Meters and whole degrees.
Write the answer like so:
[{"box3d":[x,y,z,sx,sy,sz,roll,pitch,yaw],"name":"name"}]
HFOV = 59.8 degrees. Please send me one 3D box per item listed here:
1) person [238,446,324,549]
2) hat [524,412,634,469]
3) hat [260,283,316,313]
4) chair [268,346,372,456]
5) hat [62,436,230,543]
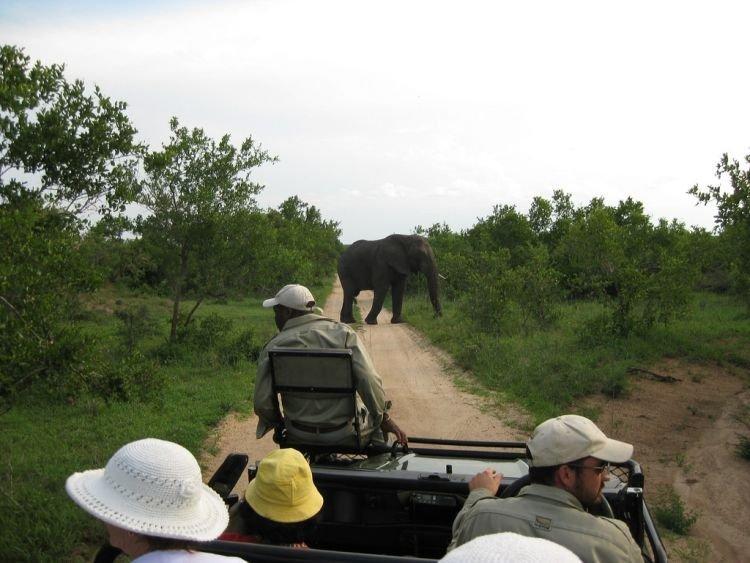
[{"box3d":[-0.733,1.757,5.093,0.627,0.806,0.350,-1,11,-14],"name":"person"},{"box3d":[1.526,1.168,5.009,0.594,0.282,0.418,-2,-5,1],"name":"hat"},{"box3d":[-0.920,0.183,7.125,0.436,0.273,0.307,0,-2,1],"name":"hat"},{"box3d":[-0.542,1.211,7.079,0.924,1.171,1.465,0,1,3],"name":"chair"},{"box3d":[-1.502,1.373,4.359,0.727,0.350,0.823,24,1,7],"name":"hat"}]
